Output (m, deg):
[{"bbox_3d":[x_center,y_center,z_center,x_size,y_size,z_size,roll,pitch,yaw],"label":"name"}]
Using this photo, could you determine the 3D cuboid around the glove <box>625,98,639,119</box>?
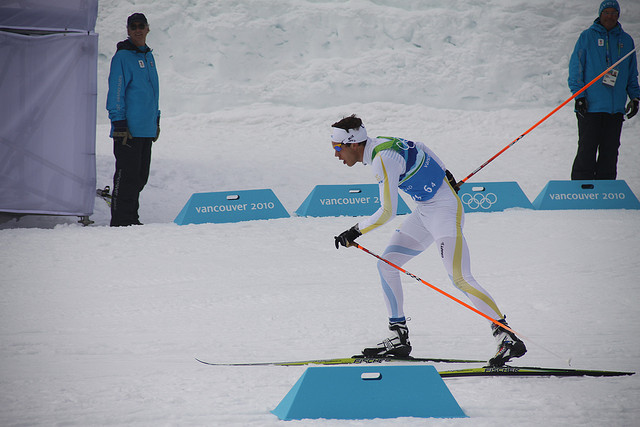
[{"bbox_3d":[4.579,-1.518,14.234,0.098,0.289,0.223,28,3,-15],"label":"glove"}]

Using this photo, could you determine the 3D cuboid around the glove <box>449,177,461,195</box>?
[{"bbox_3d":[1.549,-0.331,11.276,0.067,0.230,0.064,-32,14,0],"label":"glove"}]

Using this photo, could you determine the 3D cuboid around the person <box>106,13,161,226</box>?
[{"bbox_3d":[-2.633,-1.323,13.865,0.422,2.976,0.784,0,-3,38],"label":"person"}]

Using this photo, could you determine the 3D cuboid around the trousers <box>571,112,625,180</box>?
[{"bbox_3d":[4.073,-0.939,14.439,0.703,1.359,0.468,6,5,-3],"label":"trousers"}]

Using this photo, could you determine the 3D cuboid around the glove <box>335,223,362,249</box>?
[{"bbox_3d":[0.324,0.244,10.996,0.297,0.096,0.269,-14,-35,7],"label":"glove"}]

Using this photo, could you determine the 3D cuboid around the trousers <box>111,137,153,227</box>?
[{"bbox_3d":[-2.661,-0.465,13.924,0.592,1.276,0.270,4,-3,-39],"label":"trousers"}]

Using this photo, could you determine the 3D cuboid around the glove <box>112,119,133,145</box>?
[{"bbox_3d":[-2.759,-1.163,13.756,0.279,0.359,0.132,2,-2,-8],"label":"glove"}]

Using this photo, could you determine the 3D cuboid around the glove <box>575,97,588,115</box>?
[{"bbox_3d":[3.777,-1.570,14.159,0.178,0.234,0.127,1,-2,12],"label":"glove"}]
